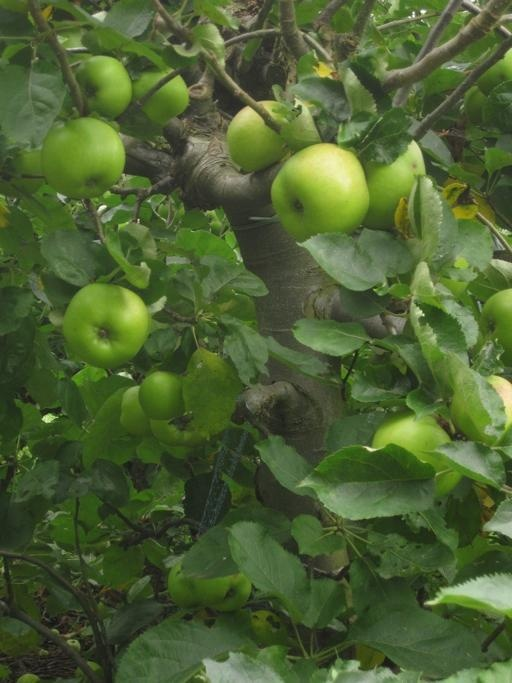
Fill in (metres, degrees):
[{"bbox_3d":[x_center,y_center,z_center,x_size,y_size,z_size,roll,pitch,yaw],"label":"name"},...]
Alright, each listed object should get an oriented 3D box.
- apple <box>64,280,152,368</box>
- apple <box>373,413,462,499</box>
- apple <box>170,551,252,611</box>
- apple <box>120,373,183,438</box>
[{"bbox_3d":[-0.294,-0.026,1.595,0.182,0.171,0.149,-4,78,20],"label":"apple"},{"bbox_3d":[0.229,0.164,1.164,0.109,0.084,0.090,-35,27,-9],"label":"apple"},{"bbox_3d":[-0.099,0.504,1.674,0.130,0.176,0.093,30,57,-40],"label":"apple"},{"bbox_3d":[-0.218,0.135,1.683,0.095,0.165,0.095,-38,85,-20],"label":"apple"}]
